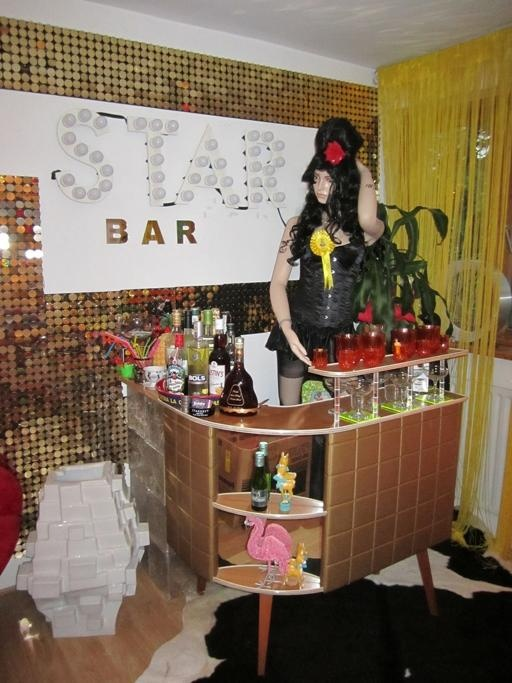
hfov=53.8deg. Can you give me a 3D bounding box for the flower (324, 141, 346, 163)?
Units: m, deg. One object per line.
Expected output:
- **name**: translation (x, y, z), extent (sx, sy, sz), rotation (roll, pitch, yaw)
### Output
- **flower**: translation (0.332, -0.782, 2.103), extent (0.092, 0.095, 0.050), rotation (-1, 4, 0)

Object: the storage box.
- **storage box**: translation (0.029, 0.449, 1.909), extent (0.331, 0.300, 0.253), rotation (-4, 16, -20)

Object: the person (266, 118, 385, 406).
- **person**: translation (0.293, -0.443, 2.242), extent (0.522, 1.055, 0.442), rotation (1, 4, 17)

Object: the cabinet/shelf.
- **cabinet/shelf**: translation (0.037, 0.670, 1.753), extent (0.421, 0.302, 0.295), rotation (0, 4, 11)

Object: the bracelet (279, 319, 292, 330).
- **bracelet**: translation (0.135, -0.074, 2.213), extent (0.037, 0.047, 0.020), rotation (-1, 14, 0)

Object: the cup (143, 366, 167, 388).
- **cup**: translation (-0.439, 0.146, 2.202), extent (0.099, 0.078, 0.092), rotation (0, 11, 0)

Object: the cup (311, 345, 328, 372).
- **cup**: translation (0.215, 0.054, 1.662), extent (0.061, 0.086, 0.064), rotation (-2, 16, 1)
